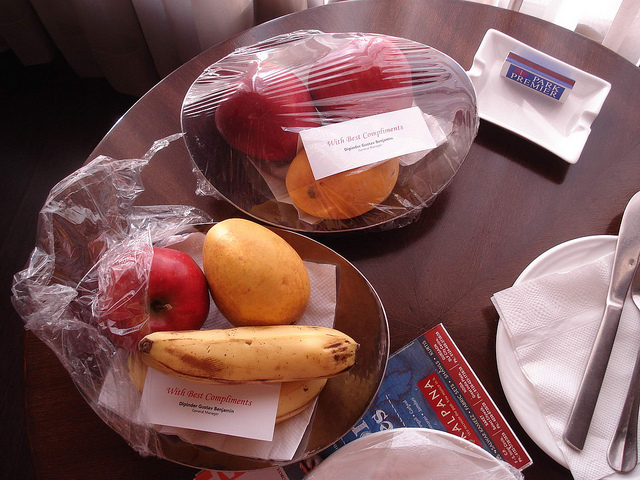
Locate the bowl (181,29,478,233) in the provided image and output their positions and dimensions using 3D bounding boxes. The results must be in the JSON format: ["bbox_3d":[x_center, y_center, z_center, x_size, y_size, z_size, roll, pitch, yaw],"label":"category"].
[{"bbox_3d":[0.006,-0.154,0.651,0.312,0.097,0.317,-2,73,6],"label":"bowl"}]

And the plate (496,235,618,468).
[{"bbox_3d":[0.297,0.110,0.631,0.120,0.063,0.299,19,65,10],"label":"plate"}]

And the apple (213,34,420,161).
[{"bbox_3d":[-0.001,-0.200,0.653,0.235,0.110,0.158,-23,64,-2],"label":"apple"}]

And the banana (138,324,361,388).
[{"bbox_3d":[-0.085,0.130,0.592,0.289,0.088,0.099,-2,61,1],"label":"banana"}]

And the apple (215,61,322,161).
[{"bbox_3d":[-0.071,-0.171,0.698,0.137,0.107,0.115,25,103,-10],"label":"apple"}]

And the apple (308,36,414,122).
[{"bbox_3d":[0.054,-0.213,0.718,0.133,0.109,0.136,-23,87,8],"label":"apple"}]

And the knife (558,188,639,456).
[{"bbox_3d":[0.363,0.120,0.627,0.039,0.024,0.338,17,81,7],"label":"knife"}]

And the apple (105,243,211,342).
[{"bbox_3d":[-0.207,0.058,0.636,0.098,0.108,0.117,-2,96,-3],"label":"apple"}]
